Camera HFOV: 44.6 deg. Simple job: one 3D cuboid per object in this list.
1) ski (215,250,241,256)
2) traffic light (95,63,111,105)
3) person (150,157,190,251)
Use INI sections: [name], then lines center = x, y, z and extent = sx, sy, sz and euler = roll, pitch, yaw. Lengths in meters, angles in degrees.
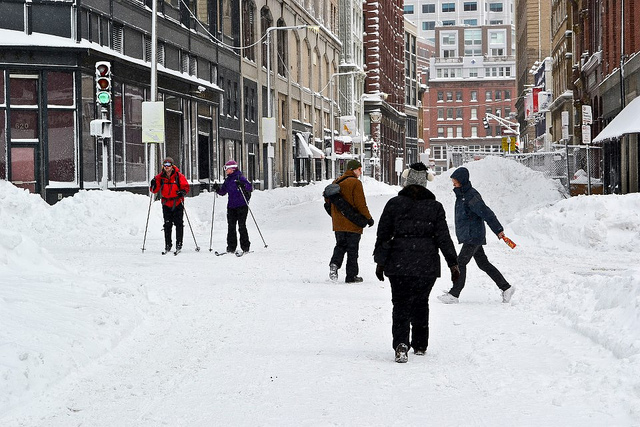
[ski]
center = -2.282, 0.972, 19.060
extent = 0.143, 0.104, 0.688
euler = 13, 9, 43
[traffic light]
center = -6.380, -3.807, 22.999
extent = 0.379, 1.174, 0.999
euler = -2, 7, -16
[person]
center = -3.674, -0.193, 19.281
extent = 0.915, 2.281, 0.702
euler = 4, 7, 32
